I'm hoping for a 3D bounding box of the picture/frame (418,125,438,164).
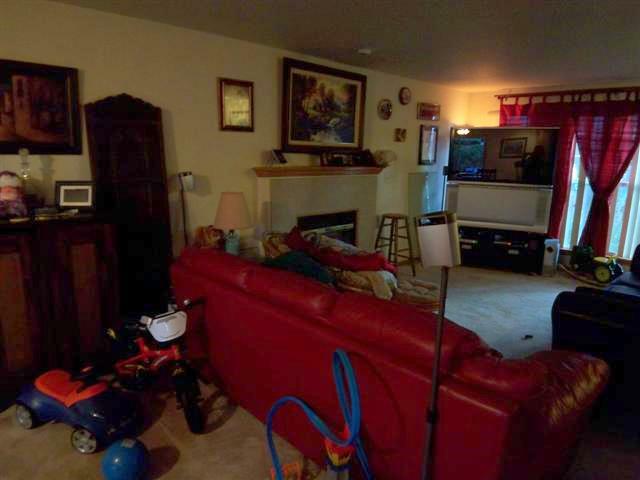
[{"bbox_3d":[1.490,-1.348,6.427,0.079,0.536,0.447,10,16,39],"label":"picture/frame"}]

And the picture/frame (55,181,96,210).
[{"bbox_3d":[-1.910,-0.348,3.601,0.220,0.240,0.018,-1,0,2],"label":"picture/frame"}]

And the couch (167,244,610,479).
[{"bbox_3d":[0.235,0.806,2.744,2.350,1.107,0.530,9,14,30],"label":"couch"}]

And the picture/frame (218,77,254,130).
[{"bbox_3d":[-0.805,-1.312,4.376,0.463,0.575,0.040,-7,11,-44],"label":"picture/frame"}]

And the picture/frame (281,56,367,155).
[{"bbox_3d":[0.012,-1.466,4.954,0.973,0.730,0.042,-10,18,-39],"label":"picture/frame"}]

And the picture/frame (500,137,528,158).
[{"bbox_3d":[2.557,-1.232,6.090,0.252,0.274,0.019,4,10,25],"label":"picture/frame"}]
